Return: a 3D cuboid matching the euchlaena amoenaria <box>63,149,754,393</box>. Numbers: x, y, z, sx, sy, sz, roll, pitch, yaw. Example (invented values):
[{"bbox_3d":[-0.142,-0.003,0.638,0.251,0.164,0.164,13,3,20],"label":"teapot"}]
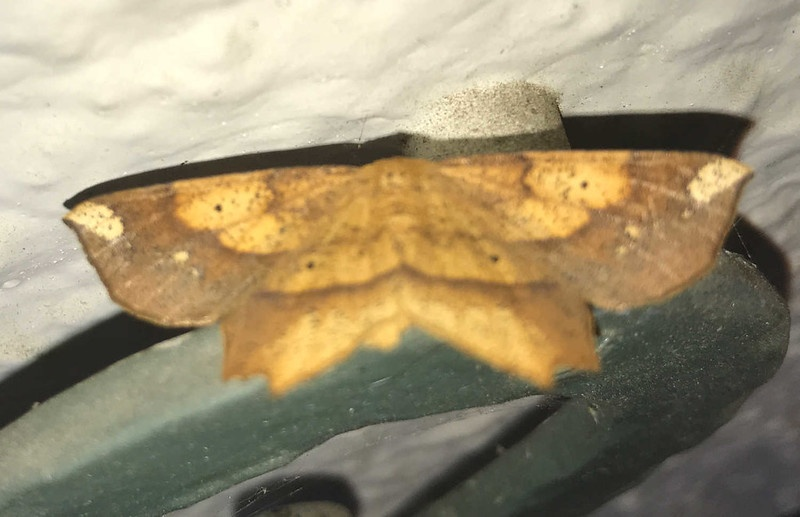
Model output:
[{"bbox_3d":[-0.007,0.040,4.213,2.627,0.172,0.798,-2,83,3],"label":"euchlaena amoenaria"}]
